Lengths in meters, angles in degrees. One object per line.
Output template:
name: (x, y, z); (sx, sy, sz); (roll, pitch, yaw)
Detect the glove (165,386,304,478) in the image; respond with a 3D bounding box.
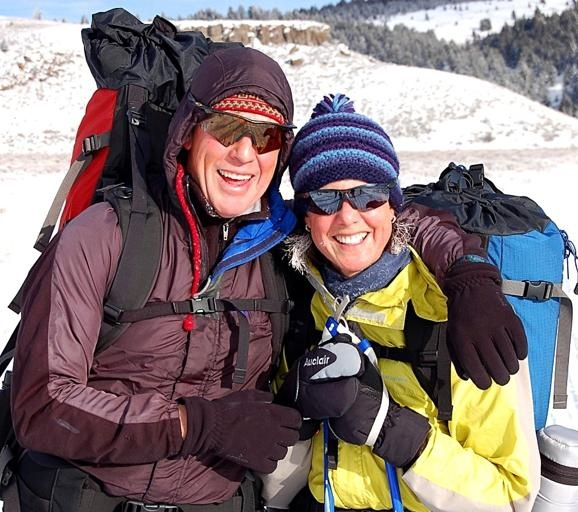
glove: (-0.230, 0.836, 3.172); (0.618, 0.390, 0.185); (-3, 11, -21)

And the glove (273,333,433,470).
glove: (0.332, 0.734, 3.432); (0.738, 0.524, 0.344); (31, -7, 7)

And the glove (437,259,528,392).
glove: (0.906, 0.315, 3.123); (0.319, 0.519, 0.414); (-1, 10, -8)

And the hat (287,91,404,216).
hat: (0.274, -0.538, 3.634); (0.511, 0.644, 0.653); (-12, 51, 9)
